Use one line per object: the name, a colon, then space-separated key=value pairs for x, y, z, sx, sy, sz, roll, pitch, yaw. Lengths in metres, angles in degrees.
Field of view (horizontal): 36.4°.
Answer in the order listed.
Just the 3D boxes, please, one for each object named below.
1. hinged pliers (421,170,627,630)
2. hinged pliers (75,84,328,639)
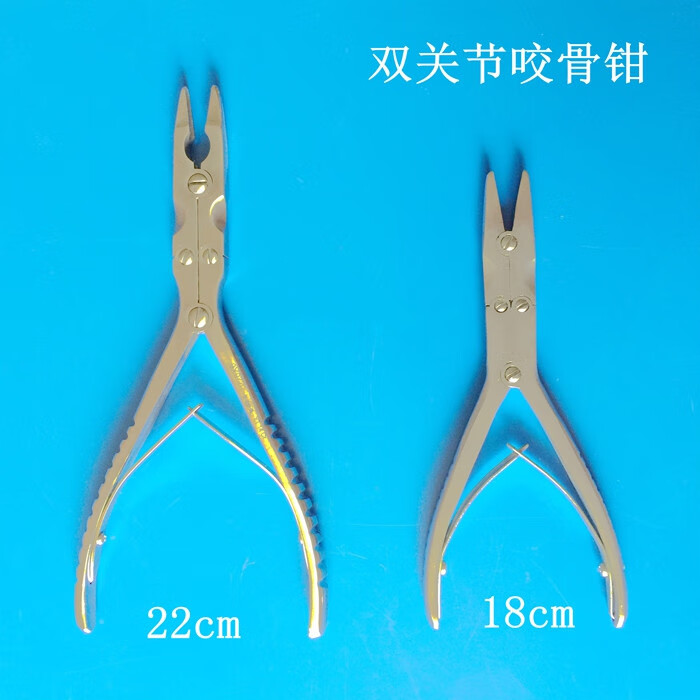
hinged pliers: x=0.210 y=0.085 z=1.440 sx=0.269 sy=0.618 sz=0.177 roll=-7 pitch=13 yaw=2
hinged pliers: x=-0.195 y=0.019 z=1.404 sx=0.278 sy=0.855 sz=0.061 roll=-2 pitch=-26 yaw=-7
